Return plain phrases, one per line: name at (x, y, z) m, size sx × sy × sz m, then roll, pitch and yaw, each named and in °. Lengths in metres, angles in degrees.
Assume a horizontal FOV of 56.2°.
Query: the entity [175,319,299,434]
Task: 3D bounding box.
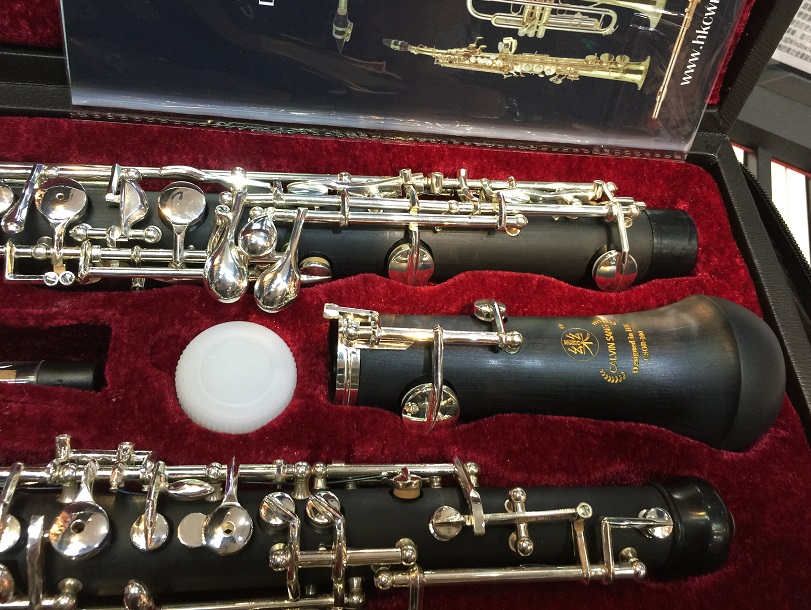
entity at (-0.442, 0.191, 1.988) m, size 0.299 × 0.248 × 0.163 m, roll 2°, pitch 20°, yaw -16°
